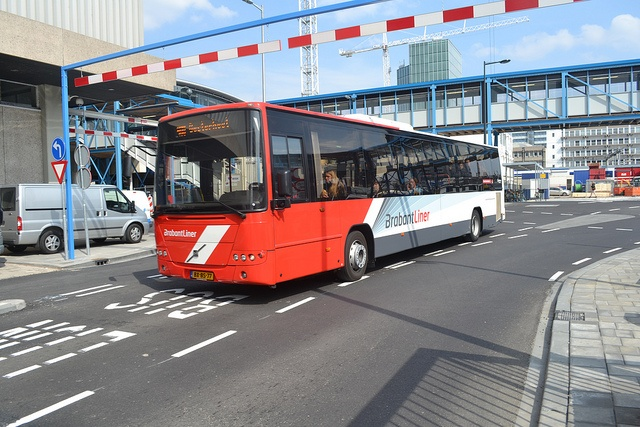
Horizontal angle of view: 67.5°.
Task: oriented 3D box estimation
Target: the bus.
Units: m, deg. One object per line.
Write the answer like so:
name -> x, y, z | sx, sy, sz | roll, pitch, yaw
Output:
bus -> 2.152, -0.856, 15.237 | 3.223, 4.767, 14.961 | 7, 13, 41
